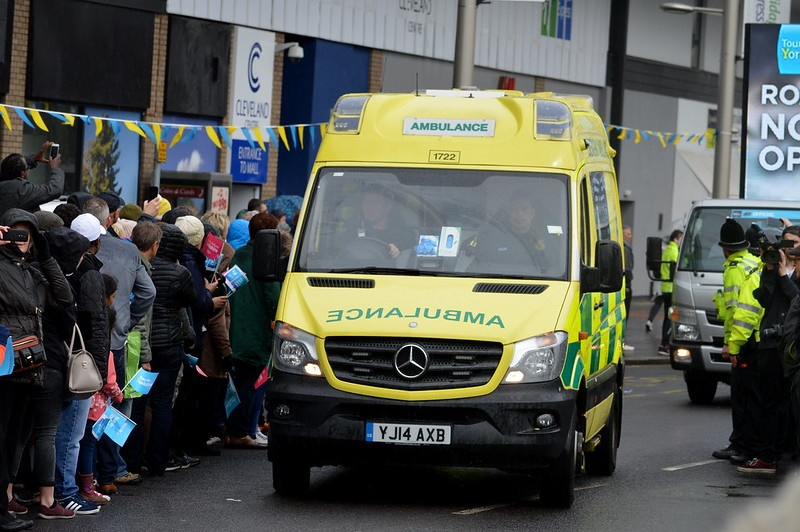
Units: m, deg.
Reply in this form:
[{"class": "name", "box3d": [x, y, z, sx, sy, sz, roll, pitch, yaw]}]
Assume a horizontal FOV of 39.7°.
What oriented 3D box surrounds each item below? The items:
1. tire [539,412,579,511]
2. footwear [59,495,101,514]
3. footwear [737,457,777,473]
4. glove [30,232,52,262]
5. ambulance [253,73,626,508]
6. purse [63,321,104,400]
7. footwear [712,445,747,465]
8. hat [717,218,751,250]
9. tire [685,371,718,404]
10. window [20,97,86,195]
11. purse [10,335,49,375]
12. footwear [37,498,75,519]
[{"class": "tire", "box3d": [1.494, 1.862, 10.494, 0.324, 0.919, 0.402, 2, 4, 4]}, {"class": "footwear", "box3d": [-2.956, 2.212, 10.314, 0.376, 0.155, 0.140, 6, 15, -16]}, {"class": "footwear", "box3d": [4.057, 2.243, 12.747, 0.478, 0.212, 0.183, 4, -2, 0]}, {"class": "glove", "box3d": [-3.184, -0.165, 9.843, 0.163, 0.244, 0.231, 3, 26, -4]}, {"class": "ambulance", "box3d": [0.410, 0.270, 11.030, 3.712, 4.144, 2.148, 1, 4, -5]}, {"class": "purse", "box3d": [-2.901, 0.837, 10.103, 0.288, 0.646, 0.237, -6, -5, -37]}, {"class": "footwear", "box3d": [3.909, 2.219, 13.159, 0.378, 0.169, 0.133, 5, 6, 37]}, {"class": "hat", "box3d": [4.068, -0.400, 13.619, 0.412, 0.303, 0.304, -6, 8, -39]}, {"class": "tire", "box3d": [4.770, 1.898, 17.585, 0.581, 0.604, 0.207, -1, 2, -30]}, {"class": "window", "box3d": [-6.810, -2.289, 21.919, 0.121, 2.032, 1.451, -16, -9, 31]}, {"class": "purse", "box3d": [-3.211, 0.701, 9.733, 0.369, 0.339, 0.267, -13, 11, -27]}, {"class": "footwear", "box3d": [-3.127, 2.207, 10.179, 0.375, 0.168, 0.134, 3, 3, -20]}]
